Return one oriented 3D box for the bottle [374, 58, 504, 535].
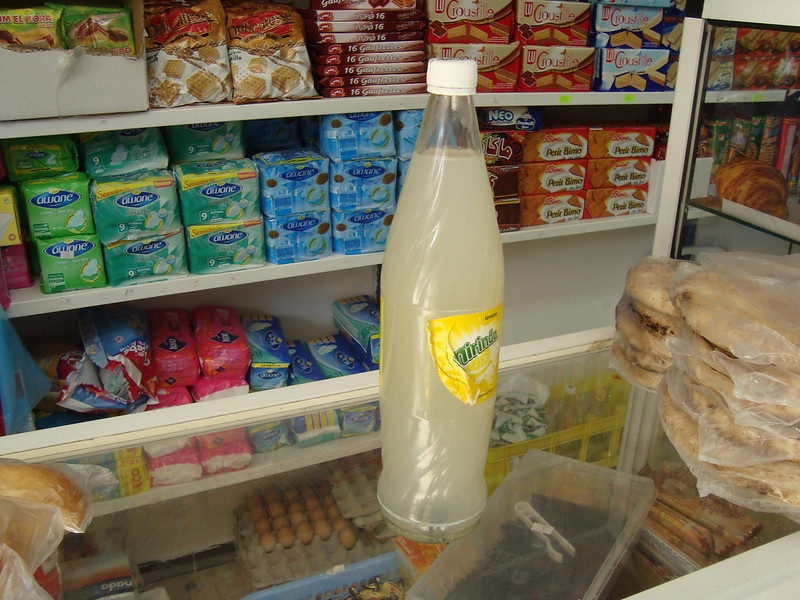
[{"bbox_3d":[0.049,0.016,0.595,0.139,0.497,0.134,0,18,0],"label":"bottle"}]
